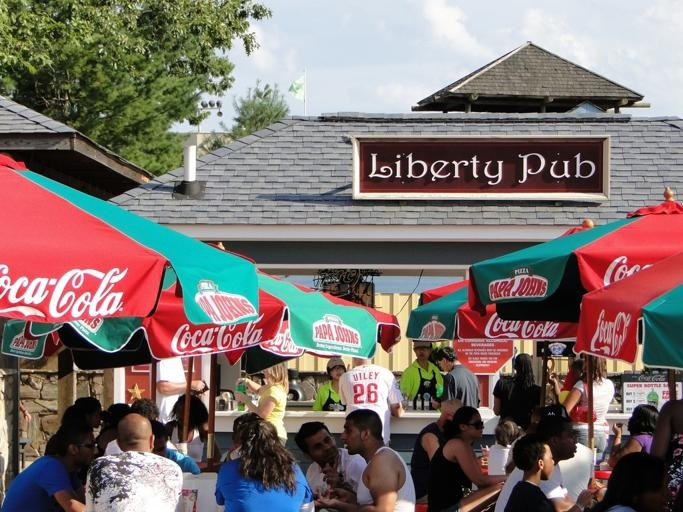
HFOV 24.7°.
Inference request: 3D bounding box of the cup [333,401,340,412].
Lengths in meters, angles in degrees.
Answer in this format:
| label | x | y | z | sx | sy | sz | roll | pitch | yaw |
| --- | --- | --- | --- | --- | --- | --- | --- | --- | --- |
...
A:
| label | x | y | z | sx | sy | sz | roll | pitch | yaw |
| --- | --- | --- | --- | --- | --- | --- | --- | --- | --- |
| cup | -0.071 | 2.359 | 24.148 | 0.152 | 0.131 | 0.392 | -1 | -4 | 8 |
